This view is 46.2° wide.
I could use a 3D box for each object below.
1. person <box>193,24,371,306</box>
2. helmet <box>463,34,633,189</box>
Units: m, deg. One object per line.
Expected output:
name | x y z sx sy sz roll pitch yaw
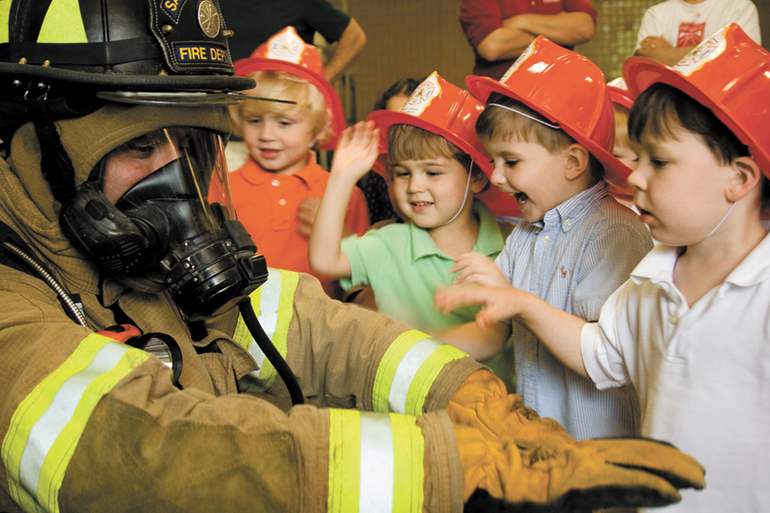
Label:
person | -0.322 -0.376 3.815 0.677 1.018 0.361 -1 19 43
helmet | 0.575 -0.476 2.987 0.516 0.272 0.372 28 3 -3
